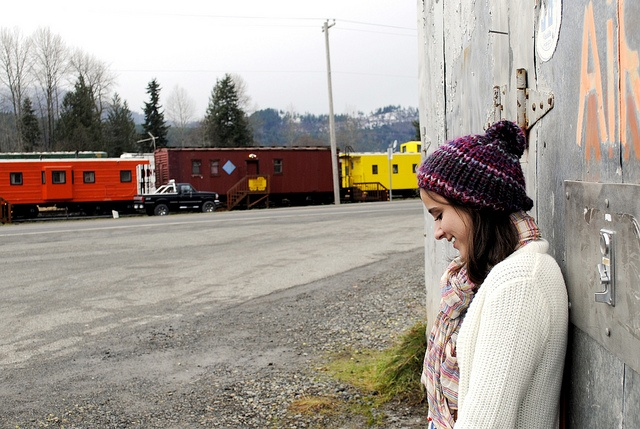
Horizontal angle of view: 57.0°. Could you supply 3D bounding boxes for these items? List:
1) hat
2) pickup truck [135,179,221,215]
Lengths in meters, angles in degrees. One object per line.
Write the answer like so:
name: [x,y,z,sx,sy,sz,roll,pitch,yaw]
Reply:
hat: [0.707,-0.233,2.453,0.419,0.311,0.416,29,29,32]
pickup truck: [-6.514,-0.684,26.725,3.508,1.778,1.528,-6,8,-35]
